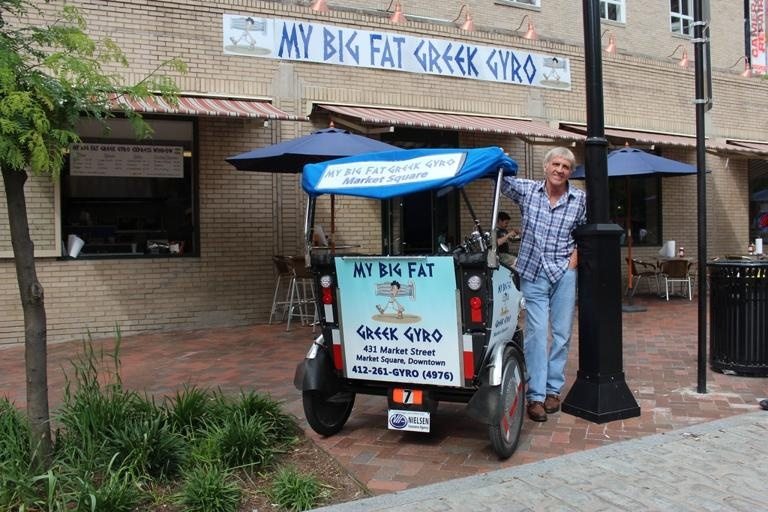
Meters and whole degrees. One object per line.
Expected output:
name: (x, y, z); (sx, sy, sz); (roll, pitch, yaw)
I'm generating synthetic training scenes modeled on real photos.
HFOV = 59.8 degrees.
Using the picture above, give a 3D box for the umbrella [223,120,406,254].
umbrella: (-1.066, -1.085, 10.689); (2.051, 1.366, 2.065); (-2, 5, -35)

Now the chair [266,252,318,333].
chair: (-1.689, 0.617, 12.254); (0.873, 1.340, 1.569); (-2, 8, -9)

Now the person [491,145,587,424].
person: (1.785, 0.278, 7.272); (0.721, 2.849, 0.672); (-4, 8, -22)

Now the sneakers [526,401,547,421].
sneakers: (1.633, 1.649, 7.115); (0.206, 0.182, 0.175); (1, 8, 13)

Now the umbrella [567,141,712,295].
umbrella: (4.781, -0.518, 14.367); (3.446, 3.309, 3.509); (0, 6, 15)

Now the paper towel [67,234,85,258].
paper towel: (-5.239, -0.165, 11.377); (0.287, 0.323, 0.236); (23, -18, -26)
